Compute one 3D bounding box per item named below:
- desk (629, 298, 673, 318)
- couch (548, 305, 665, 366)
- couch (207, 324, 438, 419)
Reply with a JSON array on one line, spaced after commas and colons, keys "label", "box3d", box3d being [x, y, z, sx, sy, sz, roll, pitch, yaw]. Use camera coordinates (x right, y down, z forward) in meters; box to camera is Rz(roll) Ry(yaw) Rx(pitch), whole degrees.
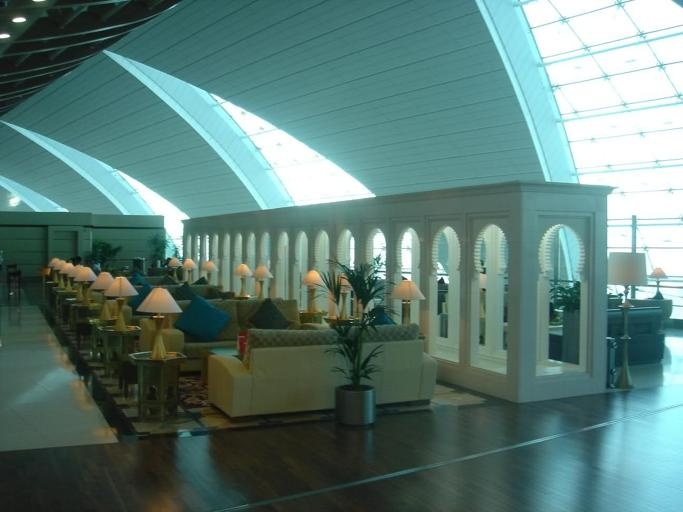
[{"label": "desk", "box3d": [7.617, 1.196, 13.957, 0.936, 0.415, 1.216, -1, -4, 2]}, {"label": "couch", "box3d": [4.855, 1.375, 10.176, 2.079, 0.977, 1.069, -1, 1, -21]}, {"label": "couch", "box3d": [-0.222, 1.411, 7.128, 2.657, 1.086, 0.529, 0, 7, -12]}]
